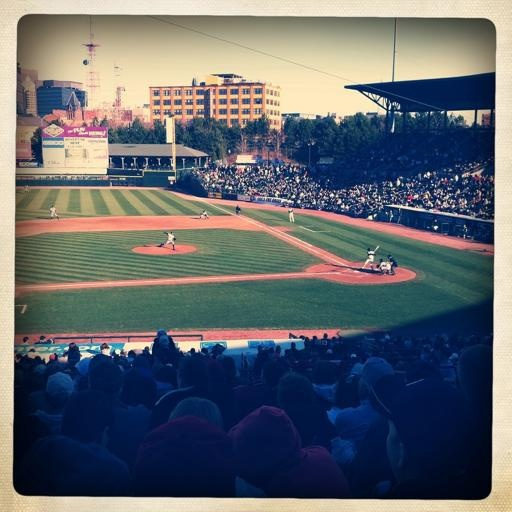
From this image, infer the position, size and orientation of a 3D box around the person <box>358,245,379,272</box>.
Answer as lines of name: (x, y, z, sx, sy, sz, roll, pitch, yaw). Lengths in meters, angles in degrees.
person: (4.712, 0.136, 36.935, 0.668, 1.733, 0.460, 6, -28, 19)
